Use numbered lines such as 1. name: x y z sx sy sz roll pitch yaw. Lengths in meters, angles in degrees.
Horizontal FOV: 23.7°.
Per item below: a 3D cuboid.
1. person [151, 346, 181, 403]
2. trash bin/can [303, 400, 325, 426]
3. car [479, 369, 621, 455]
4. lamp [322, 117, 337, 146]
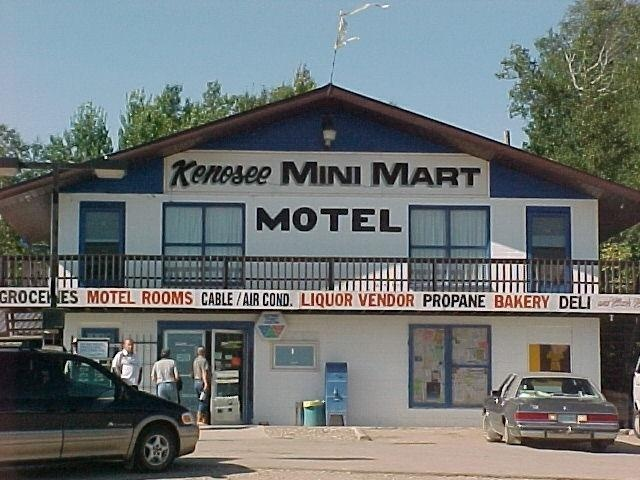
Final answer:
1. person: -4.563 4.340 45.027 0.814 2.266 0.658 -4 18 -6
2. trash bin/can: -0.155 5.485 47.570 0.675 0.729 0.685 3 -8 -28
3. car: 6.550 4.889 43.144 3.725 2.256 2.119 -3 -12 16
4. lamp: 0.299 -3.494 48.861 0.466 0.965 0.797 1 -11 0
